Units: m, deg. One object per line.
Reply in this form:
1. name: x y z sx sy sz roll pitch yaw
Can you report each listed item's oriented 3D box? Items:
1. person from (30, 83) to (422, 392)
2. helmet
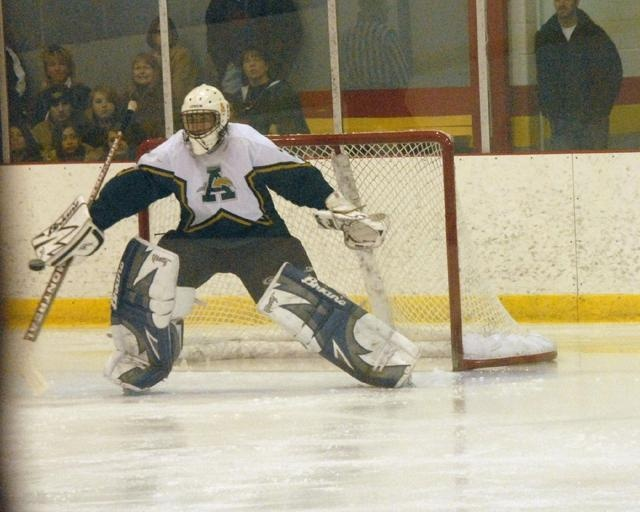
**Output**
1. person: -0.460 -0.087 4.943 1.757 1.425 0.619 -2 11 1
2. helmet: -0.529 -0.628 4.888 0.284 0.312 0.330 0 15 16
